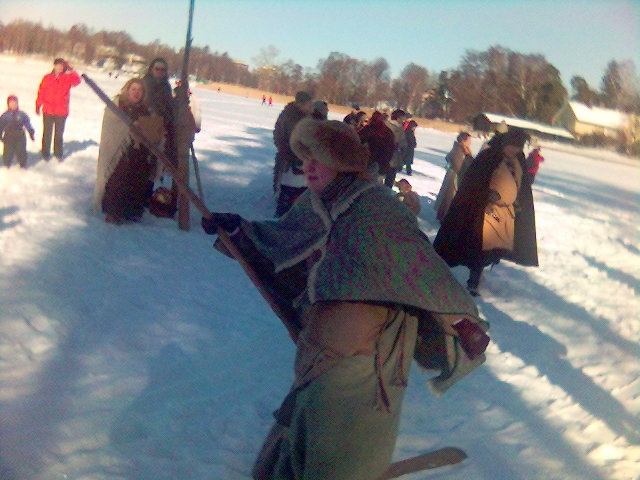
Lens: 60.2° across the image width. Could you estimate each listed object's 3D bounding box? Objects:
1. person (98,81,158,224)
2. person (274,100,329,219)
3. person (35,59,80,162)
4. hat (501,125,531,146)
[{"bbox_3d":[-2.538,-1.195,7.426,0.829,1.933,0.487,2,15,-22],"label":"person"},{"bbox_3d":[-0.530,-1.421,8.922,0.758,2.018,1.525,10,9,-5],"label":"person"},{"bbox_3d":[-4.399,-2.204,9.298,0.621,1.688,0.713,0,16,-27],"label":"person"},{"bbox_3d":[2.492,-1.333,7.038,0.336,0.212,0.451,12,14,18],"label":"hat"}]
